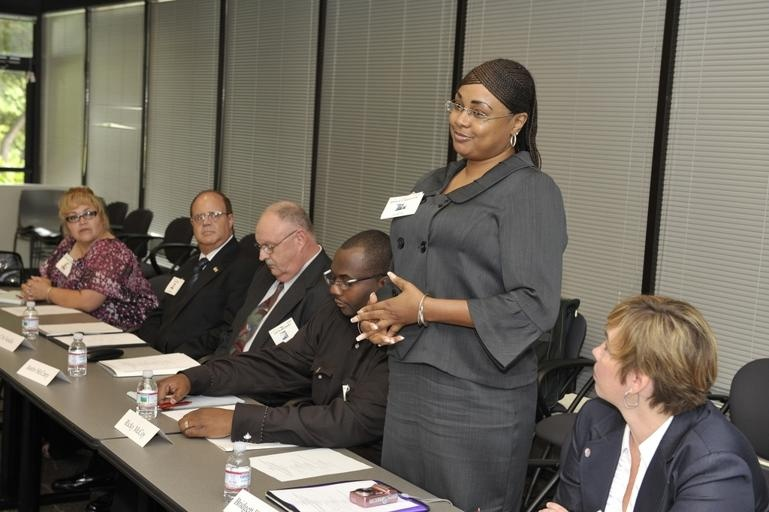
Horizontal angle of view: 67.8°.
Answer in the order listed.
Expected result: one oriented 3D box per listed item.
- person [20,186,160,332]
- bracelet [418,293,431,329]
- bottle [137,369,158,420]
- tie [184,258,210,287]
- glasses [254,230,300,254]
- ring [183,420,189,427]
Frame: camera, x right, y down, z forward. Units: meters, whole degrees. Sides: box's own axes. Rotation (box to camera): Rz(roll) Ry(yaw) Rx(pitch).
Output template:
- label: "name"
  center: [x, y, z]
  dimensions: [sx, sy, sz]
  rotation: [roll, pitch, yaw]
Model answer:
- label: "person"
  center: [-1.993, 0.025, 4.270]
  dimensions: [1.101, 1.018, 1.015]
  rotation: [4, 3, 43]
- label: "bracelet"
  center: [0.124, 0.192, 1.923]
  dimensions: [0.035, 0.080, 0.063]
  rotation: [0, 8, 13]
- label: "bottle"
  center: [-0.949, 0.539, 2.296]
  dimensions: [0.081, 0.185, 0.199]
  rotation: [4, 3, -23]
- label: "tie"
  center: [-1.270, 0.096, 3.902]
  dimensions: [0.054, 0.214, 0.137]
  rotation: [21, 5, -39]
- label: "glasses"
  center: [-0.567, -0.071, 3.058]
  dimensions: [0.182, 0.047, 0.173]
  rotation: [-28, 13, -22]
- label: "ring"
  center: [-0.728, 0.619, 2.110]
  dimensions: [0.015, 0.021, 0.021]
  rotation: [-3, 8, -4]
